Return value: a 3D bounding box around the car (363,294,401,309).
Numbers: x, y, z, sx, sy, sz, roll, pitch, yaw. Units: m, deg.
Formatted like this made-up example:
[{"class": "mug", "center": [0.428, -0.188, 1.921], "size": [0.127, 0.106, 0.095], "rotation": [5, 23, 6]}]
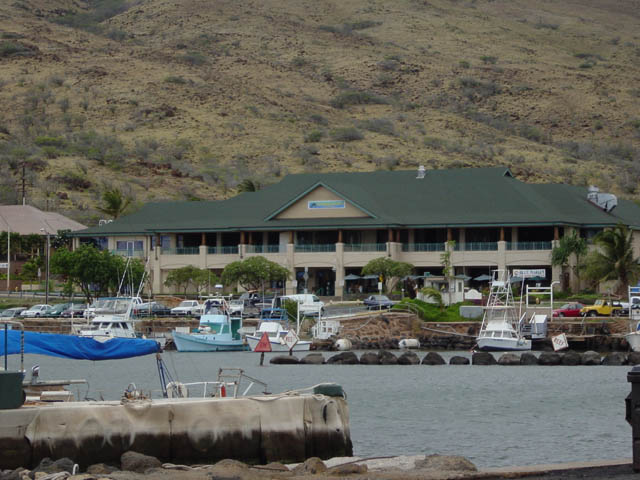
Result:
[{"class": "car", "center": [9.929, 9.238, 299.693], "size": [4.979, 2.376, 2.261], "rotation": [-3, -4, 29]}]
